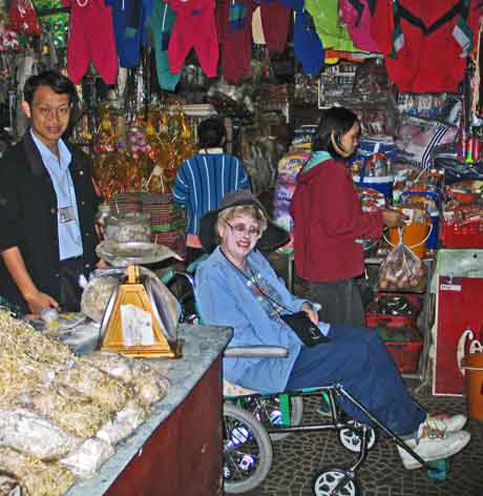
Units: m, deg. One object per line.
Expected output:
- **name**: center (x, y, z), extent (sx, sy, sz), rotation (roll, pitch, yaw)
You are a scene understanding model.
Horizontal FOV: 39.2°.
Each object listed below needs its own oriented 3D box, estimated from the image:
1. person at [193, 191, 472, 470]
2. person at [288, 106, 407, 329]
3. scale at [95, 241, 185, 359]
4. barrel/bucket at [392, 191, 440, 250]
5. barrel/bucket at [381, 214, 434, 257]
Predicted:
- **person**: center (0.348, 0.237, 3.568), extent (1.522, 1.673, 0.893), rotation (-2, 14, 16)
- **person**: center (0.662, -0.141, 4.109), extent (0.609, 1.746, 0.667), rotation (-14, 32, -7)
- **scale**: center (-0.293, 0.128, 2.189), extent (0.281, 0.438, 0.367), rotation (0, 4, -2)
- **barrel/bucket**: center (1.119, -0.167, 4.307), extent (0.262, 0.490, 0.247), rotation (-3, 12, 1)
- **barrel/bucket**: center (1.069, -0.109, 4.376), extent (0.239, 0.292, 0.243), rotation (-3, 11, 1)
